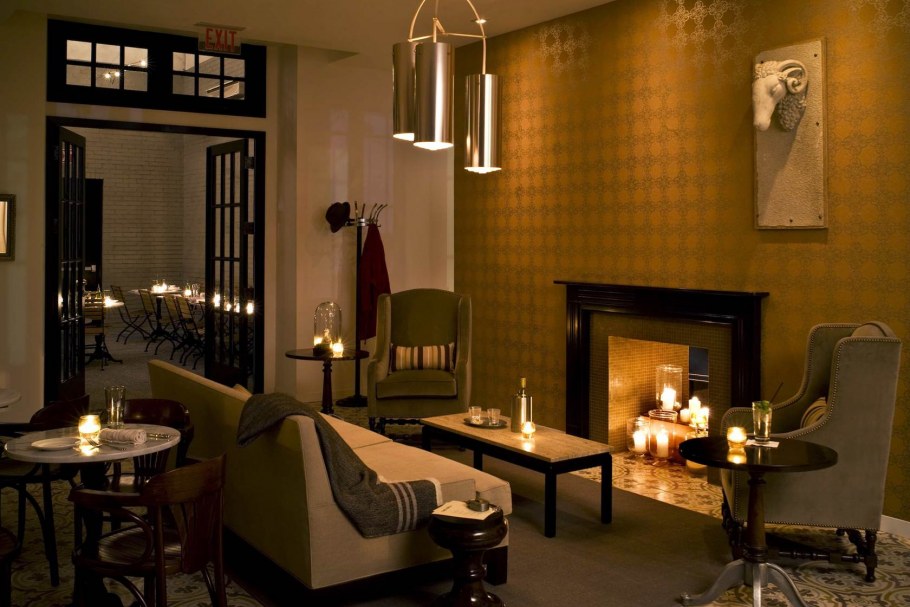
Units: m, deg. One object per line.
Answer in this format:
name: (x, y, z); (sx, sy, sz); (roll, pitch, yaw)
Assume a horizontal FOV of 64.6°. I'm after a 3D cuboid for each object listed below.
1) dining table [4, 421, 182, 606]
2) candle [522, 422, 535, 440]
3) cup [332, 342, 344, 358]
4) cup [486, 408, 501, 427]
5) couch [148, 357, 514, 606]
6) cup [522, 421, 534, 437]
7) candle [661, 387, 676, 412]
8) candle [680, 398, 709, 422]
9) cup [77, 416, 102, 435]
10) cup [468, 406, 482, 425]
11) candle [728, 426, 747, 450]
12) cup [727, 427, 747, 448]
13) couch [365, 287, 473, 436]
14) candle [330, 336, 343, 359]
dining table: (-2.071, 1.207, 4.418); (1.005, 1.090, 0.964); (1, 3, 13)
candle: (0.583, 0.984, 5.623); (0.105, 0.156, 0.107); (-1, -1, 31)
cup: (-1.227, 0.479, 7.578); (0.138, 0.132, 0.128); (0, 1, 0)
cup: (0.328, 0.928, 5.906); (0.131, 0.144, 0.127); (0, -2, 0)
couch: (-0.708, 0.563, 4.603); (1.222, 1.020, 2.497); (-2, 5, -34)
cup: (0.586, 0.977, 5.636); (0.101, 0.115, 0.100); (2, -4, 0)
candle: (1.985, 0.871, 6.681); (0.131, 0.229, 0.046); (4, 9, 25)
candle: (2.097, 0.927, 6.319); (0.238, 0.207, 0.242); (0, 0, 26)
cup: (-2.204, 0.712, 4.325); (0.138, 0.131, 0.135); (0, 1, 0)
cup: (0.185, 0.914, 5.976); (0.122, 0.139, 0.117); (1, -2, 0)
candle: (1.723, 0.804, 4.359); (0.127, 0.126, 0.127); (0, -2, -2)
cup: (1.711, 0.792, 4.362); (0.126, 0.120, 0.126); (-1, -1, 0)
couch: (-0.332, 0.510, 7.538); (1.236, 1.765, 1.291); (0, -5, 2)
candle: (-1.238, 0.472, 7.653); (0.172, 0.179, 0.169); (1, 0, -32)
